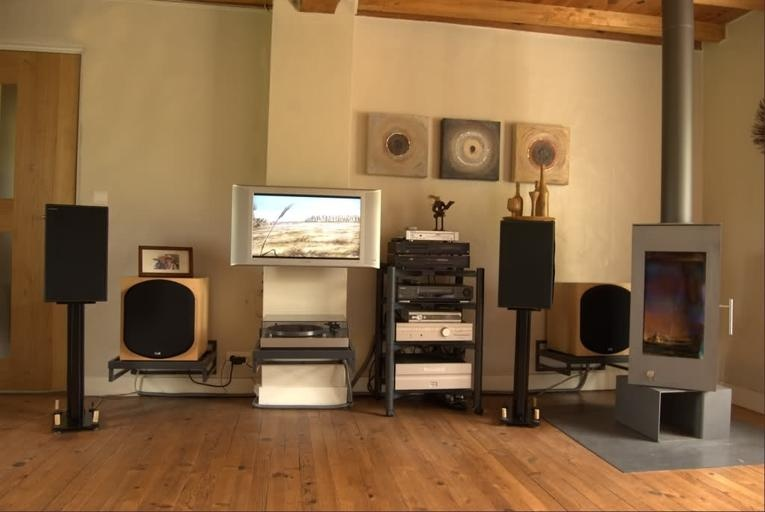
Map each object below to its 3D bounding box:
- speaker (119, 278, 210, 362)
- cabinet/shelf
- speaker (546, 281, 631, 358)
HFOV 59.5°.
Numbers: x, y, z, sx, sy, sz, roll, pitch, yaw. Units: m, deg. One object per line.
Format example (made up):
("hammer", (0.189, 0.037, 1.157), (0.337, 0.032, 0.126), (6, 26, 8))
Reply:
("speaker", (-1.725, 0.529, 5.588), (0.686, 0.666, 0.662), (1, -6, -6))
("cabinet/shelf", (0.425, 0.655, 5.892), (1.149, 1.545, 1.124), (1, 3, 0))
("speaker", (1.767, 0.548, 5.886), (0.654, 0.637, 0.652), (1, -4, -16))
